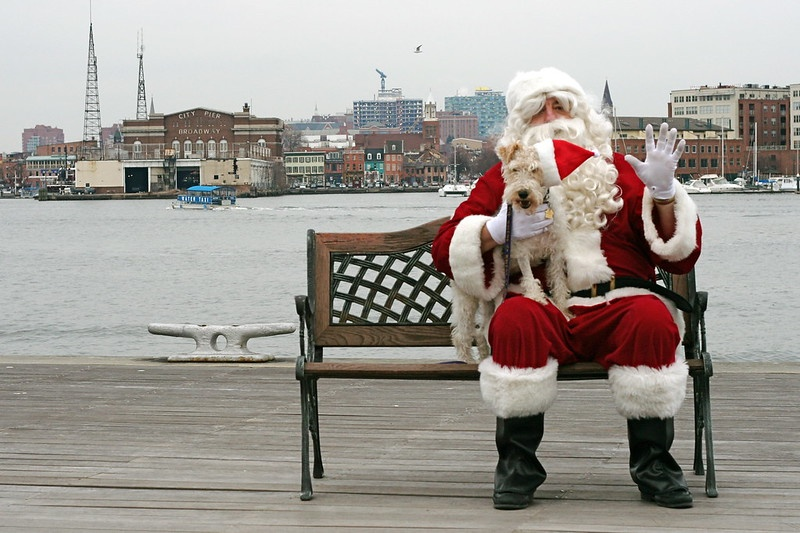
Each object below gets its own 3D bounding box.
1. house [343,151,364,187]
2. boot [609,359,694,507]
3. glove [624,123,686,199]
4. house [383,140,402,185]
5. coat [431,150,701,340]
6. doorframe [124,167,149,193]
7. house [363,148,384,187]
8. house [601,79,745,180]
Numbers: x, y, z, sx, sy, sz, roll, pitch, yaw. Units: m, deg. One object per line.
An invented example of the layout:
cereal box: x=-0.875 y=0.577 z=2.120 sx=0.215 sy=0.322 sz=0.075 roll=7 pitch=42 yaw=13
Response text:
house: x=-4.171 y=-8.932 z=163.709 sx=1.868 sy=3.319 sz=1.902 roll=-4 pitch=6 yaw=-8
boot: x=2.785 y=1.864 z=20.522 sx=0.872 sy=1.646 sz=0.336 roll=-2 pitch=6 yaw=4
glove: x=2.853 y=-1.174 z=20.582 sx=0.635 sy=0.868 sz=0.316 roll=-2 pitch=6 yaw=3
house: x=-0.709 y=-9.312 z=164.427 sx=1.798 sy=3.902 sz=1.988 roll=-2 pitch=6 yaw=10
coat: x=1.972 y=-0.061 z=21.425 sx=4.211 sy=2.120 sz=1.869 roll=-2 pitch=-2 yaw=8
doorframe: x=-17.772 y=-5.914 z=123.046 sx=2.515 sy=2.013 sz=0.209 roll=3 pitch=45 yaw=-2
house: x=-2.448 y=-8.947 z=163.680 sx=1.886 sy=3.292 sz=1.697 roll=-3 pitch=6 yaw=-1
house: x=22.184 y=-9.237 z=125.377 sx=8.494 sy=5.093 sz=14.037 roll=-18 pitch=9 yaw=-21
